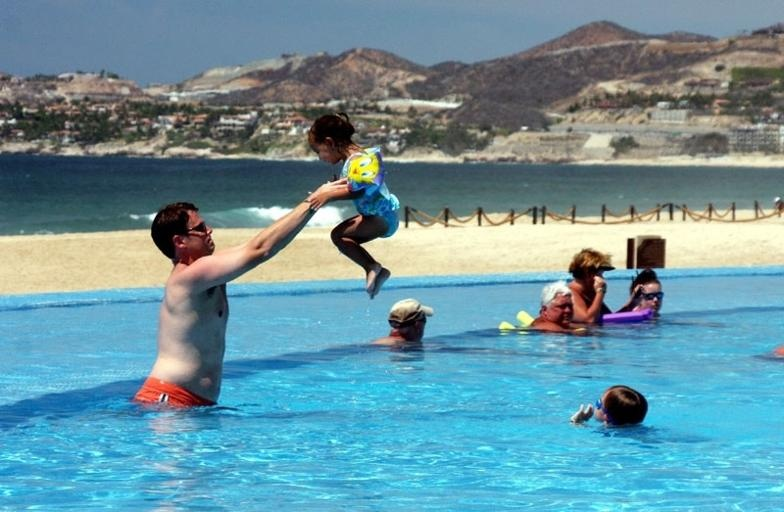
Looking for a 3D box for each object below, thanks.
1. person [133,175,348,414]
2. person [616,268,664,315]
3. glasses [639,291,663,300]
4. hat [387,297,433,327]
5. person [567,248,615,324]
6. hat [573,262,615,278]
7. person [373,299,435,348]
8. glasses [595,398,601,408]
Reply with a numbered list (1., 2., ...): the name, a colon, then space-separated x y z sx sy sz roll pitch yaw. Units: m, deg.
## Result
1. person: -1.923 0.578 13.645 1.693 2.214 0.378 4 17 12
2. person: 3.348 0.504 17.767 0.531 0.707 0.545 3 15 8
3. glasses: 3.487 0.536 17.709 0.275 0.126 0.115 -1 15 -7
4. hat: 0.238 0.701 16.144 0.477 0.204 0.362 -16 19 -41
5. person: 2.669 0.451 17.662 0.727 0.919 0.672 -10 29 7
6. hat: 2.559 0.185 16.977 0.424 0.118 0.208 -5 3 3
7. person: 0.110 0.796 16.309 0.882 0.409 0.552 -18 18 -38
8. glasses: 2.220 1.595 14.212 0.076 0.078 0.085 7 0 22
